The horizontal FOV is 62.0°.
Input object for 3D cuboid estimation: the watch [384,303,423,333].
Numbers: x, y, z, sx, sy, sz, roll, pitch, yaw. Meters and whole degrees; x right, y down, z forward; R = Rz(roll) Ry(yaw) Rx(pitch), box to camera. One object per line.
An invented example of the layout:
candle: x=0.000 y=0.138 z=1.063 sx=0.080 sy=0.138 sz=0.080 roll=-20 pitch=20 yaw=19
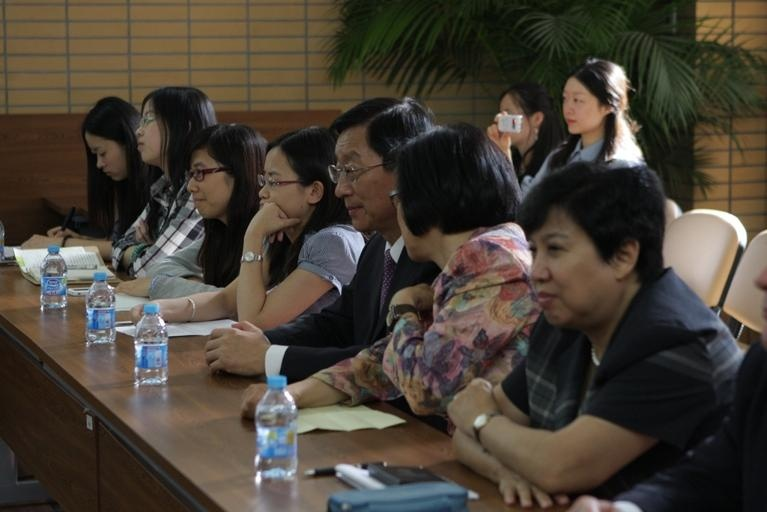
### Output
watch: x=0.046 y=0.176 z=1.766 sx=0.073 sy=0.057 sz=0.072 roll=2 pitch=-2 yaw=-9

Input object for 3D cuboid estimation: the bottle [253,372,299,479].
bottle: x=-0.234 y=0.361 z=1.393 sx=0.094 sy=0.215 sz=0.129 roll=0 pitch=9 yaw=-9

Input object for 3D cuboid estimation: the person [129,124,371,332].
person: x=-0.542 y=-0.065 z=3.297 sx=1.048 sy=1.561 sz=0.636 roll=1 pitch=-2 yaw=-8

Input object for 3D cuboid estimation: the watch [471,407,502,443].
watch: x=0.225 y=0.368 z=1.422 sx=0.071 sy=0.064 sz=0.044 roll=-4 pitch=15 yaw=-39

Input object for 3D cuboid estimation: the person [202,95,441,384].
person: x=-0.343 y=-0.068 z=2.659 sx=1.080 sy=1.434 sz=0.614 roll=4 pitch=2 yaw=0

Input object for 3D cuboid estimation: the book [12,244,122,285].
book: x=-1.756 y=0.043 z=3.483 sx=0.335 sy=0.071 sz=0.480 roll=-3 pitch=20 yaw=-22

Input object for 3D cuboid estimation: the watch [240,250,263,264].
watch: x=-0.550 y=0.013 z=2.651 sx=0.072 sy=0.040 sz=0.072 roll=-3 pitch=-5 yaw=-6

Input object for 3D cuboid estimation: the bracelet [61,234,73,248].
bracelet: x=-2.119 y=-0.099 z=4.271 sx=0.038 sy=0.069 sz=0.097 roll=19 pitch=-41 yaw=-42

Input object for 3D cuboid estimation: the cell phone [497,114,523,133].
cell phone: x=0.835 y=-0.874 z=4.234 sx=0.146 sy=0.065 sz=0.195 roll=0 pitch=5 yaw=6

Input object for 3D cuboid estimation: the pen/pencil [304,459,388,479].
pen/pencil: x=-0.081 y=0.459 z=1.366 sx=0.155 sy=0.017 sz=0.017 roll=-6 pitch=17 yaw=-4

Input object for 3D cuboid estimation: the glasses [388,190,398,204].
glasses: x=0.033 y=-0.184 z=1.972 sx=0.041 sy=0.047 sz=0.056 roll=-2 pitch=2 yaw=-1
